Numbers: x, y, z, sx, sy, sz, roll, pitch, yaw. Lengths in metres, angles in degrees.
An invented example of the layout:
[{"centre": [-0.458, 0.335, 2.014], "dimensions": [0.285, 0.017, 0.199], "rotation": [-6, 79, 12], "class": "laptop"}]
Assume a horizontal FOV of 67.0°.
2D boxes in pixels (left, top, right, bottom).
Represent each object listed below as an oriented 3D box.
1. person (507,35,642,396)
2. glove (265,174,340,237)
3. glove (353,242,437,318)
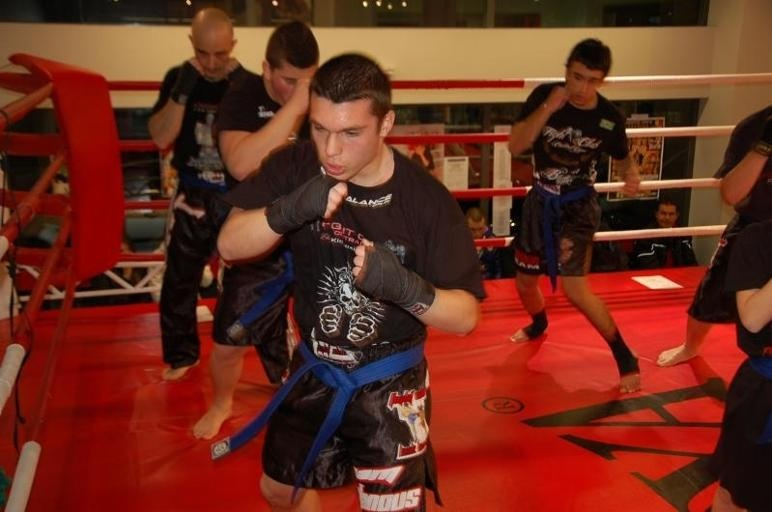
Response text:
[{"centre": [1.202, -0.358, 3.603], "dimensions": [0.903, 1.864, 0.696], "rotation": [11, 19, 31], "class": "person"}, {"centre": [-0.281, -0.153, 2.049], "dimensions": [0.253, 0.158, 0.100], "rotation": [-29, -36, 24], "class": "glove"}, {"centre": [0.030, 0.094, 2.005], "dimensions": [0.285, 0.111, 0.178], "rotation": [24, 50, -17], "class": "glove"}]
